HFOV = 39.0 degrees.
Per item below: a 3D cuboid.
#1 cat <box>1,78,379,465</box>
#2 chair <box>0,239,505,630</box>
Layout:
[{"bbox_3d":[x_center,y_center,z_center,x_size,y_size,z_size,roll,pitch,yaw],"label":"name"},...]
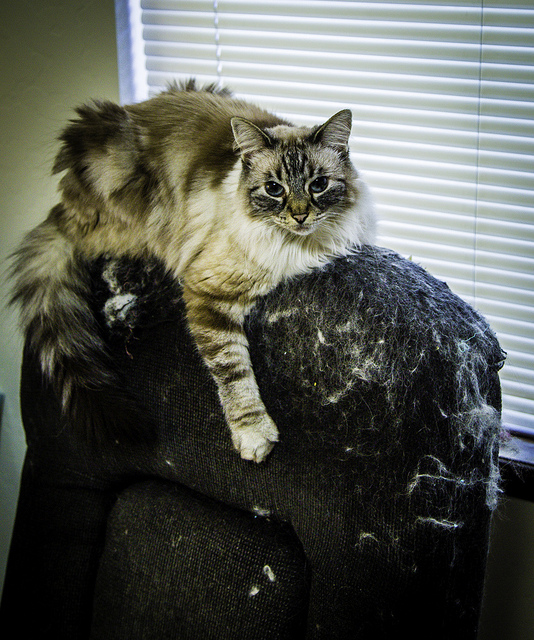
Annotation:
[{"bbox_3d":[-0.184,-0.150,1.594,0.720,0.635,0.619,17,32,15],"label":"cat"},{"bbox_3d":[-0.092,0.251,1.689,0.754,0.894,0.950,6,2,7],"label":"chair"}]
